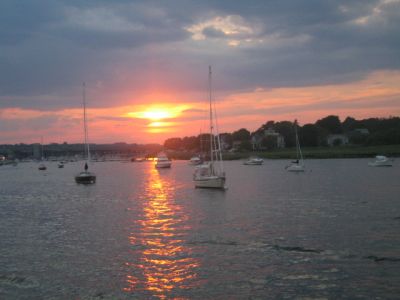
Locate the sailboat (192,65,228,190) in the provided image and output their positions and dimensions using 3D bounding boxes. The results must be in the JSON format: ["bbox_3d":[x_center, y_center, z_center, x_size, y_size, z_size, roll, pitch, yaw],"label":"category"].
[{"bbox_3d":[1.782,-3.205,76.095,4.193,19.374,14.269,-1,1,-21],"label":"sailboat"}]
